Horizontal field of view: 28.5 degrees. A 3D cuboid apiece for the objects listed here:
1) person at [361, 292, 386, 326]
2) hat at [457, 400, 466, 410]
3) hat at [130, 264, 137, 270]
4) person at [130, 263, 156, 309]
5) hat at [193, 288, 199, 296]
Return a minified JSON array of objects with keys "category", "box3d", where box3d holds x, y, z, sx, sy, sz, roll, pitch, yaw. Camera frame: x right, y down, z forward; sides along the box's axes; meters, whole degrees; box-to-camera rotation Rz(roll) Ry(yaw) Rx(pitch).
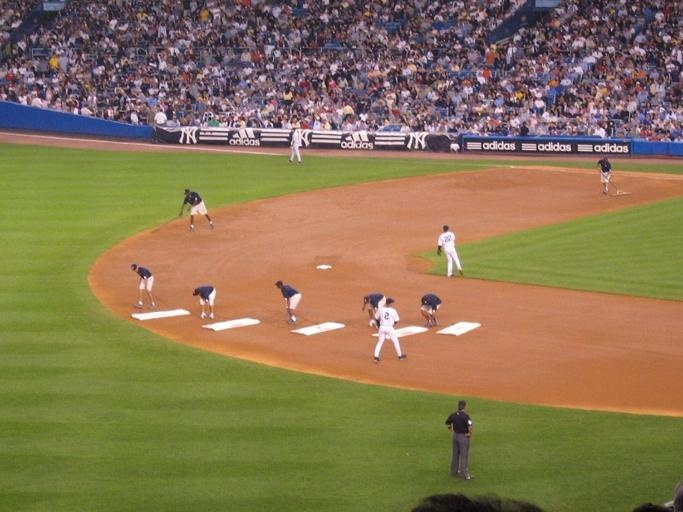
[{"category":"person","box3d":[1.300,2.418,61.451,0.580,1.309,2.006,-9,1,8]},{"category":"hat","box3d":[4.698,5.780,52.808,0.263,0.352,0.353,3,27,5]},{"category":"hat","box3d":[-9.818,0.527,62.815,0.307,0.323,0.362,2,4,10]},{"category":"person","box3d":[-9.548,1.536,64.274,1.233,2.085,1.061,-20,40,-35]},{"category":"hat","box3d":[-6.704,1.722,61.776,0.299,0.096,0.298,-16,34,-25]}]
